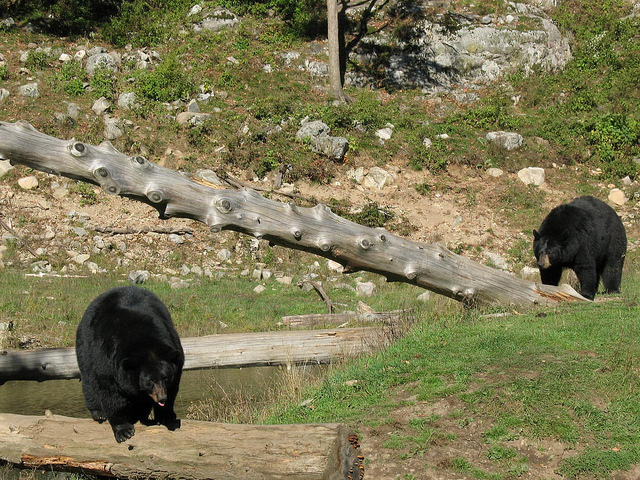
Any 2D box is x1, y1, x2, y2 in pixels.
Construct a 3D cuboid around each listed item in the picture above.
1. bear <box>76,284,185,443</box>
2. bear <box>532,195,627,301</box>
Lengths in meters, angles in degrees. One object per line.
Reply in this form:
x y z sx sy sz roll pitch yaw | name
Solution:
-5.183 3.429 34.035 2.674 4.182 2.749 -2 13 -29 | bear
8.263 0.322 39.254 2.100 3.317 3.868 1 6 42 | bear
